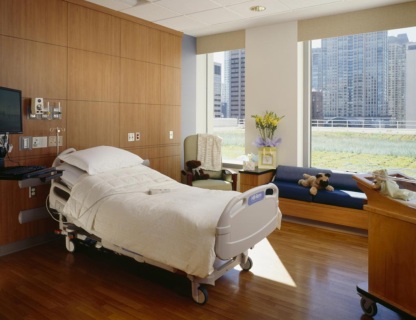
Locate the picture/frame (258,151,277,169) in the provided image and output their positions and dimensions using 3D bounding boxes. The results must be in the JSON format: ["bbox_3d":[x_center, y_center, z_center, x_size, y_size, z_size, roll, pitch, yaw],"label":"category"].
[{"bbox_3d":[1.057,0.008,5.376,0.298,0.361,0.123,1,0,14],"label":"picture/frame"}]

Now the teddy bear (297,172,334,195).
[{"bbox_3d":[1.648,0.363,4.685,0.267,0.223,0.451,-1,1,-10],"label":"teddy bear"}]

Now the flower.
[{"bbox_3d":[1.078,-0.520,5.632,0.694,0.750,0.560,5,8,44],"label":"flower"}]

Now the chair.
[{"bbox_3d":[-0.009,0.191,5.240,0.893,1.257,1.076,-1,2,-6],"label":"chair"}]

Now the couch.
[{"bbox_3d":[1.726,0.641,4.767,1.662,0.729,0.655,4,-12,38],"label":"couch"}]

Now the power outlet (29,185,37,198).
[{"bbox_3d":[-2.233,0.418,3.879,0.060,0.156,0.130,-1,11,-6],"label":"power outlet"}]

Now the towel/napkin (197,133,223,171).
[{"bbox_3d":[0.028,-0.115,5.536,0.454,0.657,0.162,1,-3,9],"label":"towel/napkin"}]

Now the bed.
[{"bbox_3d":[-0.517,0.501,3.518,2.251,1.205,1.509,6,9,31],"label":"bed"}]
